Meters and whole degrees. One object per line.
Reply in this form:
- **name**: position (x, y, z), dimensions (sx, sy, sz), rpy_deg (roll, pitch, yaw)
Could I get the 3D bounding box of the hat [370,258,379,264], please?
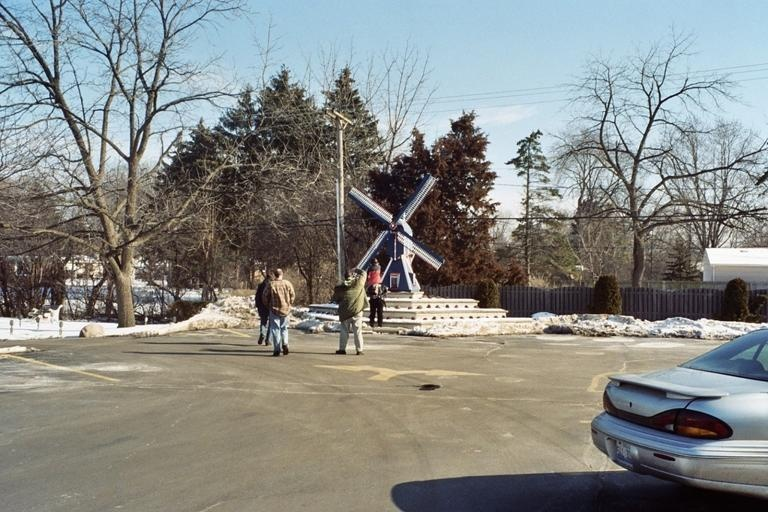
- **hat**: position (-0.403, 0.179, 28.956), dimensions (0.358, 0.196, 0.487), rpy_deg (-6, -3, -4)
